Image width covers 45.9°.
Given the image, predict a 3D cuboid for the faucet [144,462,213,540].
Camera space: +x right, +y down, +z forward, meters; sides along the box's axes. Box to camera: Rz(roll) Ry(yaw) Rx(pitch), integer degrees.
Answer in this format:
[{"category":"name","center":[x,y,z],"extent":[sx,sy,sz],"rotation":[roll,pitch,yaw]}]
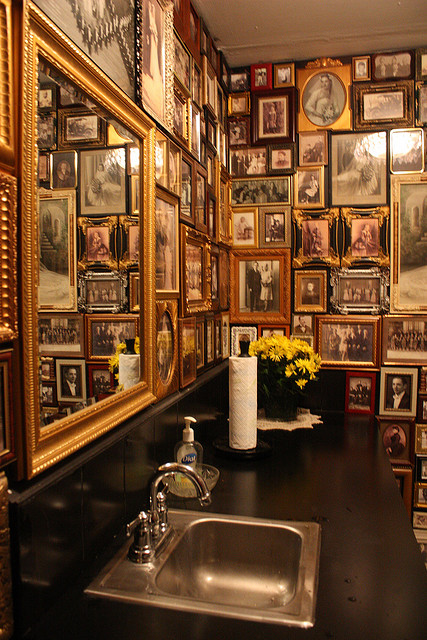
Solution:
[{"category":"faucet","center":[-0.073,0.364,0.994],"extent":[0.117,0.197,0.114],"rotation":[10,20,9]}]

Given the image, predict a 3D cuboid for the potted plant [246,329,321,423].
[{"category":"potted plant","center":[0.296,0.190,2.163],"extent":[0.277,0.482,0.373],"rotation":[0,-2,7]}]

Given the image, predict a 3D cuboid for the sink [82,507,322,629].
[{"category":"sink","center":[0.049,0.490,1.028],"extent":[0.252,0.138,0.253],"rotation":[1,0,13]}]

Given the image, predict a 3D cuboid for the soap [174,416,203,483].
[{"category":"soap","center":[-0.061,0.320,1.290],"extent":[0.053,0.162,0.080],"rotation":[4,6,13]}]

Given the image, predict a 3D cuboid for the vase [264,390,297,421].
[{"category":"vase","center":[0.274,0.351,2.068],"extent":[0.109,0.105,0.111],"rotation":[5,-7,-14]}]

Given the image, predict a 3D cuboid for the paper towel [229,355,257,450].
[{"category":"paper towel","center":[0.094,0.263,1.606],"extent":[0.092,0.296,0.055],"rotation":[2,2,1]}]
